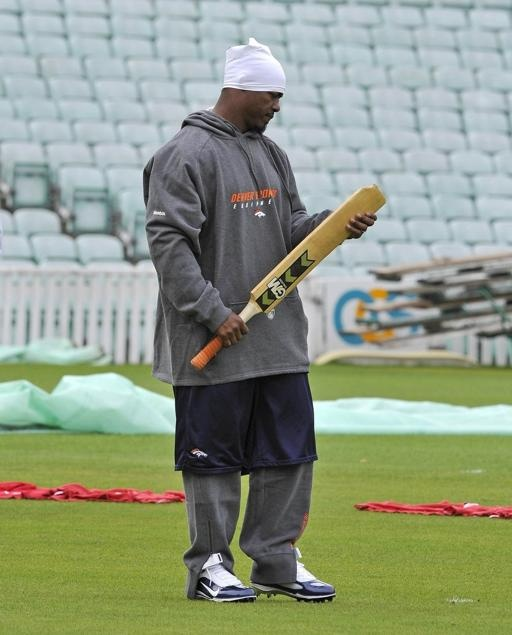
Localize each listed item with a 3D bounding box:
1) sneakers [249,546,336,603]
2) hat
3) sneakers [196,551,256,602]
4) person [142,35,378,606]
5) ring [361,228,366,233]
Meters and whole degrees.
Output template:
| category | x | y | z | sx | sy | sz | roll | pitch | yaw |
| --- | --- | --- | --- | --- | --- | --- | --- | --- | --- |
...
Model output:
| category | x | y | z | sx | sy | sz | roll | pitch | yaw |
| --- | --- | --- | --- | --- | --- | --- | --- | --- | --- |
| sneakers | 0.163 | 0.941 | 5.239 | 0.356 | 0.170 | 0.114 | 0 | -3 | 25 |
| hat | -0.006 | -0.912 | 5.391 | 0.260 | 0.190 | 0.166 | -1 | 2 | 21 |
| sneakers | -0.126 | 0.925 | 5.155 | 0.096 | 0.105 | 0.263 | 2 | -5 | -37 |
| person | -0.083 | -0.009 | 5.238 | 0.668 | 1.968 | 0.671 | 1 | 9 | -4 |
| ring | 0.390 | -0.319 | 5.400 | 0.016 | 0.020 | 0.006 | 26 | -16 | 30 |
